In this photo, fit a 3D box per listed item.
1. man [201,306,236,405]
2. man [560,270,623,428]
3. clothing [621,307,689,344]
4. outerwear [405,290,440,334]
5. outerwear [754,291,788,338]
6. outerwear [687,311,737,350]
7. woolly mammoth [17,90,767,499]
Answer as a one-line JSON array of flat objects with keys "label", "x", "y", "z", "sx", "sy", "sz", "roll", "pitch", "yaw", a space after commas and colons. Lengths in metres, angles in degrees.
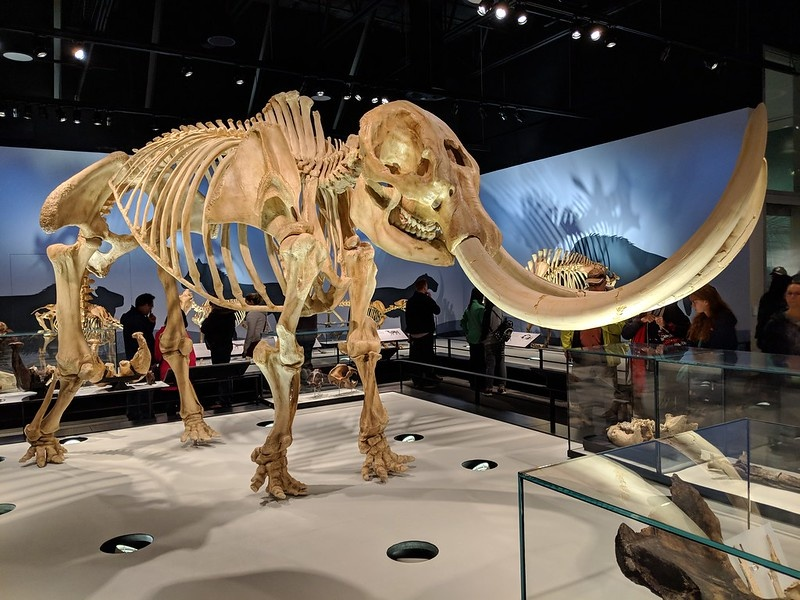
[{"label": "man", "x": -2.739, "y": 0.701, "z": 7.404, "sx": 0.511, "sy": 1.817, "sz": 0.476, "roll": 1, "pitch": 20, "yaw": -24}, {"label": "man", "x": 1.852, "y": 0.509, "z": 4.636, "sx": 0.476, "sy": 1.874, "sz": 0.539, "roll": -23, "pitch": 26, "yaw": -33}, {"label": "clothing", "x": 3.330, "y": 0.330, "z": 6.224, "sx": 0.818, "sy": 0.458, "sz": 0.651, "roll": -4, "pitch": 4, "yaw": 2}, {"label": "outerwear", "x": 0.295, "y": 0.241, "z": 8.525, "sx": 0.755, "sy": 0.976, "sz": 0.638, "roll": 1, "pitch": -4, "yaw": -17}, {"label": "outerwear", "x": 4.201, "y": 0.161, "z": 5.530, "sx": 0.206, "sy": 0.604, "sz": 0.433, "roll": 18, "pitch": 12, "yaw": 38}, {"label": "outerwear", "x": 3.270, "y": 0.319, "z": 5.117, "sx": 0.221, "sy": 0.414, "sz": 0.426, "roll": -1, "pitch": 6, "yaw": -20}, {"label": "woolly mammoth", "x": -0.674, "y": -0.102, "z": 4.410, "sx": 6.143, "sy": 3.624, "sz": 1.657, "roll": 1, "pitch": 5, "yaw": 17}]
